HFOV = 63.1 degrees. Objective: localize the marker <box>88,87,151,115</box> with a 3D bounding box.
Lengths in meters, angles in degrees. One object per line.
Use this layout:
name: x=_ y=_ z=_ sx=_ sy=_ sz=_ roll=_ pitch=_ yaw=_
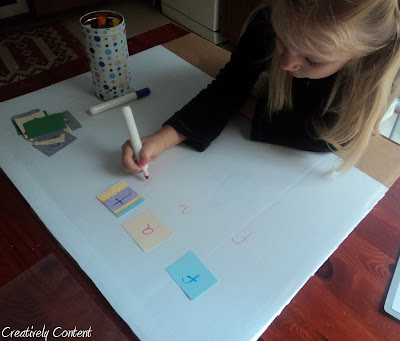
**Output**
marker: x=-0.273 y=-0.237 z=1.109 sx=0.218 sy=0.038 sz=0.037 roll=-23 pitch=52 yaw=-12
